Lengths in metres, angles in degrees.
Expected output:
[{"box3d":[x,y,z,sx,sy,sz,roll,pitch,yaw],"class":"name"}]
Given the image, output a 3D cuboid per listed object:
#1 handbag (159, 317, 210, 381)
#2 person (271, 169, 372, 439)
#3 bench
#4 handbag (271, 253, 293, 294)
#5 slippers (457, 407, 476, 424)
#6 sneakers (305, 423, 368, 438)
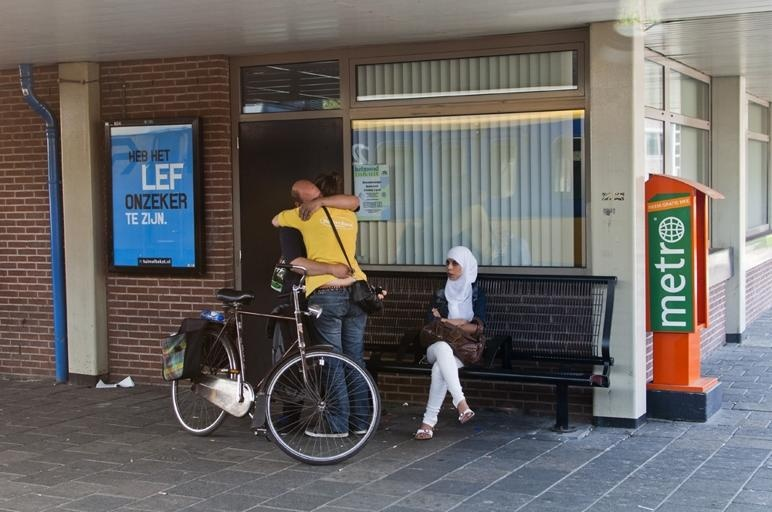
[{"box3d":[-1.995,0.939,8.111,0.363,0.611,0.486,10,-18,-42],"class":"handbag"},{"box3d":[-0.599,0.542,7.779,0.840,2.491,0.774,-2,7,-6],"class":"person"},{"box3d":[0.890,0.947,8.498,2.852,1.325,0.984,0,12,21],"class":"bench"},{"box3d":[-0.964,0.187,7.865,0.248,0.333,0.179,17,47,6],"class":"handbag"},{"box3d":[0.767,1.577,7.915,0.132,0.115,0.312,-35,-10,-15],"class":"slippers"},{"box3d":[-0.513,1.728,7.849,0.433,0.097,0.250,-1,-1,18],"class":"sneakers"}]
